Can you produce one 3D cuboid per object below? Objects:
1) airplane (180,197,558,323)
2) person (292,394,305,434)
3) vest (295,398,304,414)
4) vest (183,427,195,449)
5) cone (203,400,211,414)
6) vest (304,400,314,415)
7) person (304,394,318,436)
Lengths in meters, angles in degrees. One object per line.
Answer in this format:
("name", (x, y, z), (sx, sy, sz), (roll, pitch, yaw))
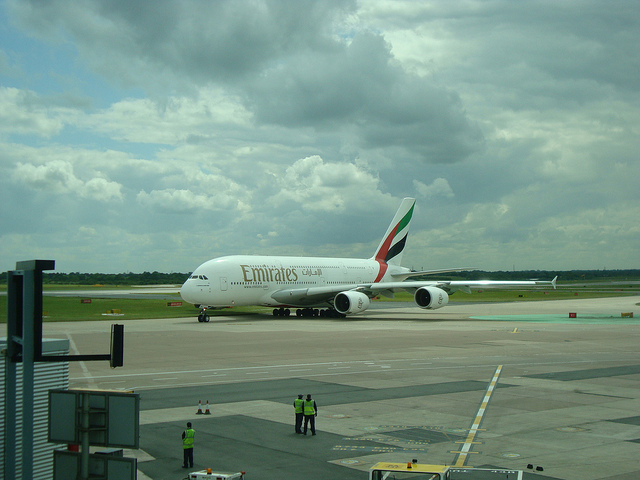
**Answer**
("airplane", (6.282, 1.820, 62.389), (24.931, 9.429, 32.311), (4, 2, 43))
("person", (-0.662, 5.344, 20.850), (0.322, 0.908, 0.742), (4, 2, -1))
("vest", (-0.669, 5.121, 20.640), (0.251, 0.346, 0.206), (3, 2, -6))
("vest", (-3.537, 5.239, 17.755), (0.242, 0.370, 0.243), (3, 2, -22))
("cone", (-3.843, 5.770, 22.817), (0.274, 0.229, 0.223), (-1, 1, -31))
("vest", (-0.351, 5.114, 20.573), (0.291, 0.334, 0.280), (3, 2, -8))
("person", (-0.317, 5.335, 20.674), (0.418, 0.958, 0.686), (4, 2, -1))
